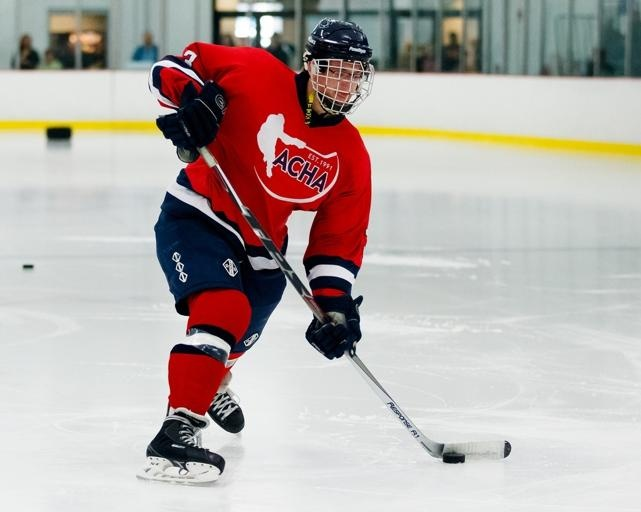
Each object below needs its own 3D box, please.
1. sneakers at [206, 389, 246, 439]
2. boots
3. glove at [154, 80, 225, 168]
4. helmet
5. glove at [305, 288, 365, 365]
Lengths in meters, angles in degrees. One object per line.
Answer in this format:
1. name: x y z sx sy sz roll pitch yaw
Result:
1. sneakers: -0.257 0.436 2.593 0.161 0.059 0.063 43 -5 40
2. boots: -0.330 0.470 2.304 0.223 0.182 0.092 -4 -23 23
3. glove: -0.325 -0.356 2.431 0.087 0.201 0.211 1 29 39
4. helmet: 0.049 -0.507 2.504 0.187 0.248 0.199 1 15 -1
5. glove: 0.043 0.189 2.553 0.142 0.178 0.081 31 -32 -7
